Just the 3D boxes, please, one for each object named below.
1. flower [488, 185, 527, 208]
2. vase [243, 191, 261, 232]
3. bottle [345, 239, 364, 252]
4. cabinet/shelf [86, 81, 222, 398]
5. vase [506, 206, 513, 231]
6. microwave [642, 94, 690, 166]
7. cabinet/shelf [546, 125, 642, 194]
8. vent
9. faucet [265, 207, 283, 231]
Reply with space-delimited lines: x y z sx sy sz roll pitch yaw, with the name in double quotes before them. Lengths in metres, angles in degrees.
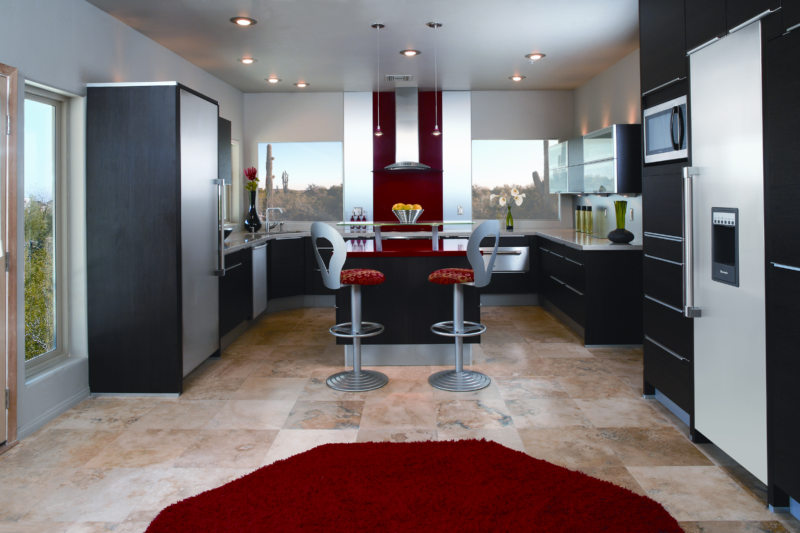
"flower" 1.706 -1.105 8.334 0.438 0.347 0.382 2 -1 -30
"vase" -2.185 -0.813 7.785 0.221 0.625 0.610 -3 10 -15
"bottle" -0.494 -0.221 5.707 0.121 0.114 0.217 0 5 4
"cabinet/shelf" -2.250 -0.271 4.797 0.804 2.642 1.000 1 10 7
"vase" 1.694 -0.747 8.180 0.125 0.354 0.385 1 10 11
"microwave" 1.996 -1.011 3.968 0.385 0.345 0.532 0 3 5
"cabinet/shelf" 2.380 -1.294 6.535 0.334 0.804 1.791 -2 10 -6
"vent" 0.059 -2.104 8.018 1.373 1.549 0.160 0 -2 -2
"faucet" -1.942 -0.730 8.100 0.280 0.327 0.486 -3 10 -13
